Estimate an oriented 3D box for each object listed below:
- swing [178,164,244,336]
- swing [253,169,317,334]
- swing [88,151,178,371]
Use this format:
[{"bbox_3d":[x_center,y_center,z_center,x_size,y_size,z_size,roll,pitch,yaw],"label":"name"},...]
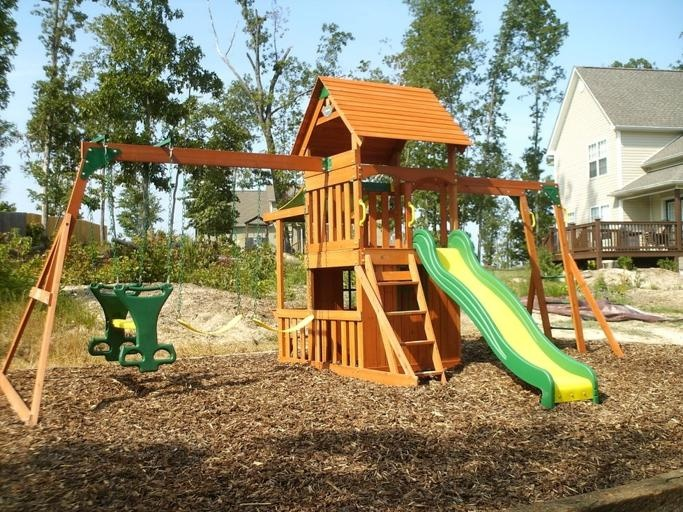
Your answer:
[{"bbox_3d":[-4.065,-0.353,20.966,0.952,6.139,1.166,8,7,42],"label":"swing"},{"bbox_3d":[-0.994,0.105,11.121,1.345,2.905,1.273,0,-24,-1],"label":"swing"},{"bbox_3d":[-3.039,0.175,9.785,1.204,2.984,3.004,1,-5,-18],"label":"swing"}]
